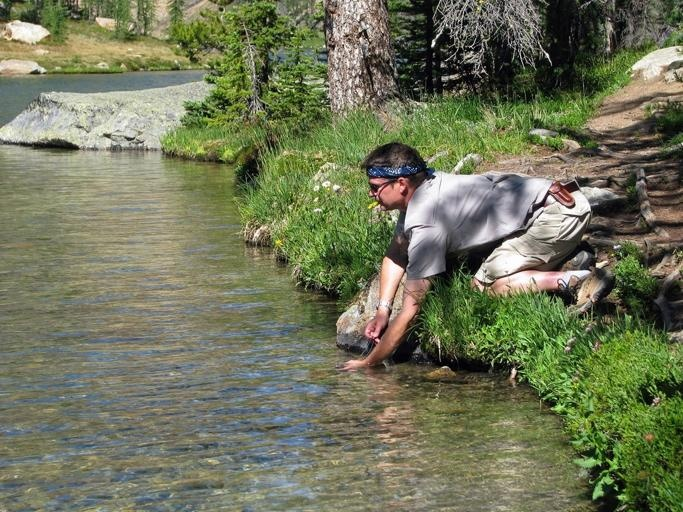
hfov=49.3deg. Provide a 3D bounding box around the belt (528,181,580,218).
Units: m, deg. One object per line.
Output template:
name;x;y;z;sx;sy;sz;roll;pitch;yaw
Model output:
belt;1.943;-0.528;6.639;0.257;0.406;0.160;44;-10;30

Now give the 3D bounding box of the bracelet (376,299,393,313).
bracelet;0.391;0.457;6.854;0.114;0.099;0.134;5;-5;-19

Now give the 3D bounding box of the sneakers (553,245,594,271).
sneakers;2.133;0.022;6.793;0.205;0.112;0.263;-35;13;-25

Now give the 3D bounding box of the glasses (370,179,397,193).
glasses;0.351;-0.610;6.451;0.154;0.047;0.146;-24;10;-24
